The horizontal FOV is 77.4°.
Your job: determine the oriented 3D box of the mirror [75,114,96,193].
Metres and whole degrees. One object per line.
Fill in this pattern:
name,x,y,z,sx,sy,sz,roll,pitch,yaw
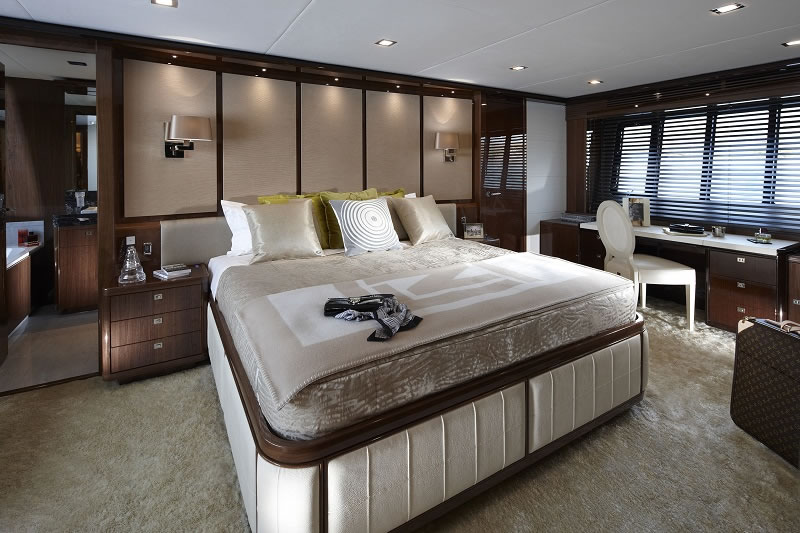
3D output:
mirror,-2.734,-0.993,4.410,0.184,0.661,0.063,-8,12,-25

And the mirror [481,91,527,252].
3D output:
mirror,1.403,-1.196,6.698,0.801,2.071,0.106,-9,13,-30

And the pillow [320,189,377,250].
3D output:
pillow,-0.534,-0.520,5.021,0.175,0.599,0.605,-16,-9,39

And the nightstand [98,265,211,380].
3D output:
nightstand,-2.227,0.445,4.845,1.176,1.232,0.806,-3,4,-33

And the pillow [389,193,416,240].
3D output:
pillow,-0.010,-0.556,5.480,0.137,0.474,0.491,-13,0,20

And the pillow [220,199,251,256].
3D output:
pillow,-1.595,-0.355,4.880,0.179,0.502,0.461,-6,5,23

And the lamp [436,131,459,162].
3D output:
lamp,0.612,-1.471,6.201,0.374,0.356,0.146,-11,14,-37

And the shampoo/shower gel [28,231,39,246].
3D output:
shampoo/shower gel,-3.180,-0.241,4.342,0.107,0.155,0.080,-3,8,-41

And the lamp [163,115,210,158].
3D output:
lamp,-1.985,-1.188,4.858,0.377,0.476,0.476,5,6,37
